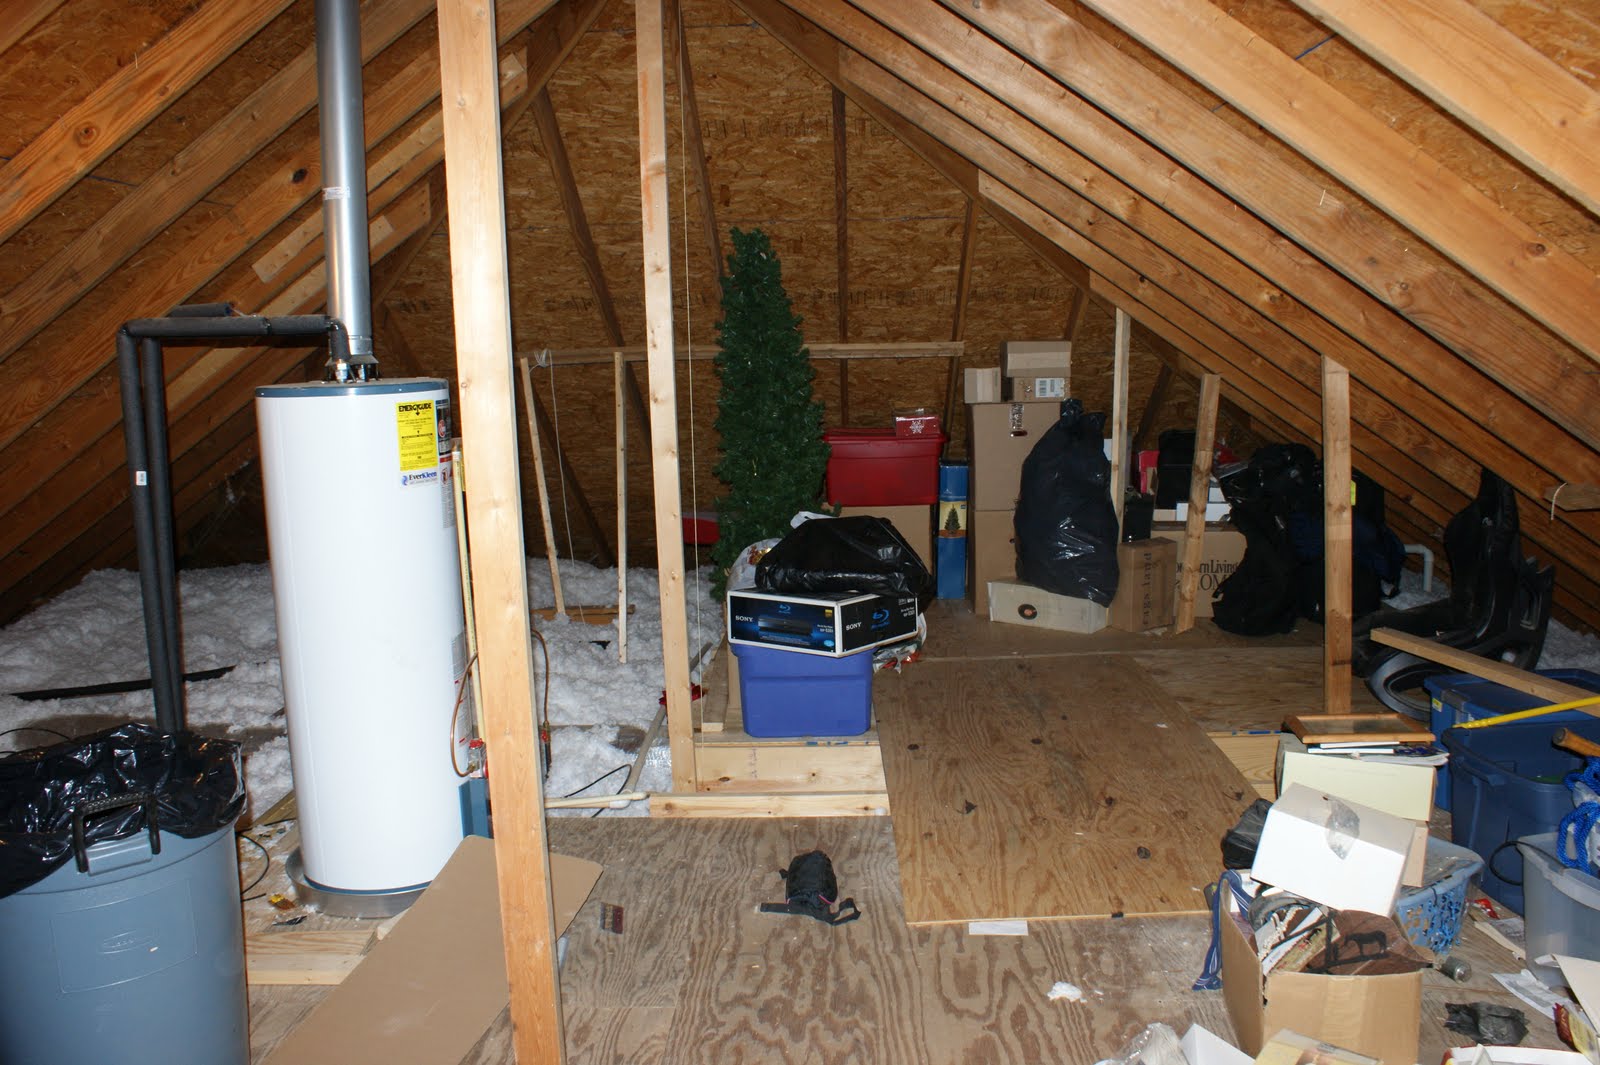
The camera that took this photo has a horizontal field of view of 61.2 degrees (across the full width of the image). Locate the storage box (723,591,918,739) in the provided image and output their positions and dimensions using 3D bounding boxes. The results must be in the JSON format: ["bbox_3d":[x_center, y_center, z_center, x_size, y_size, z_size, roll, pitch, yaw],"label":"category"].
[{"bbox_3d":[0.086,0.456,5.468,1.068,0.655,0.533,0,3,0],"label":"storage box"}]

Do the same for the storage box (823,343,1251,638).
[{"bbox_3d":[1.531,-0.272,7.238,1.626,1.033,1.441,-1,12,1],"label":"storage box"}]
